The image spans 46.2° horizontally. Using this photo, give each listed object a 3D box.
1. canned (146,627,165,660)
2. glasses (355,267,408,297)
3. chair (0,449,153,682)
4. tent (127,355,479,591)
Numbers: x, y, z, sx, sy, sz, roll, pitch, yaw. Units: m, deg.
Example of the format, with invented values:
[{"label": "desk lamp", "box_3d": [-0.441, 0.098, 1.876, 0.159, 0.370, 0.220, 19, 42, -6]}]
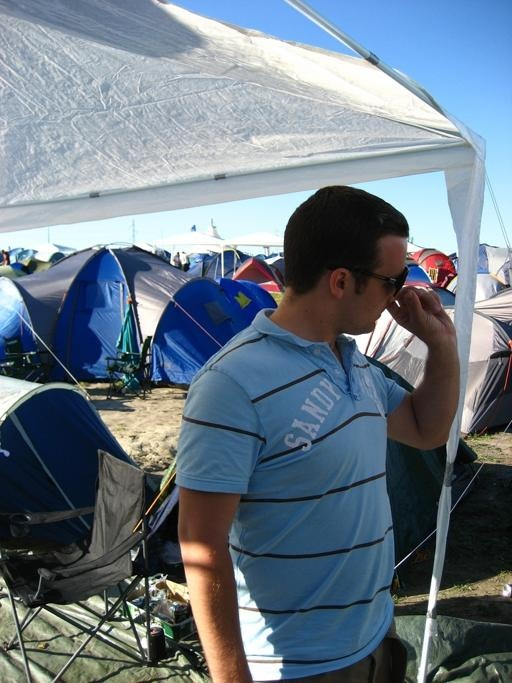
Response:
[{"label": "canned", "box_3d": [-0.513, 1.572, 3.115, 0.089, 0.195, 0.088, 0, 10, -10]}, {"label": "glasses", "box_3d": [0.293, -0.144, 1.391, 0.096, 0.027, 0.085, 9, 7, 5]}, {"label": "chair", "box_3d": [-0.971, 1.188, 3.245, 0.776, 1.137, 1.061, 0, 9, -11]}, {"label": "tent", "box_3d": [0.355, 0.604, 3.985, 1.963, 0.822, 1.813, -2, 6, -23]}]
